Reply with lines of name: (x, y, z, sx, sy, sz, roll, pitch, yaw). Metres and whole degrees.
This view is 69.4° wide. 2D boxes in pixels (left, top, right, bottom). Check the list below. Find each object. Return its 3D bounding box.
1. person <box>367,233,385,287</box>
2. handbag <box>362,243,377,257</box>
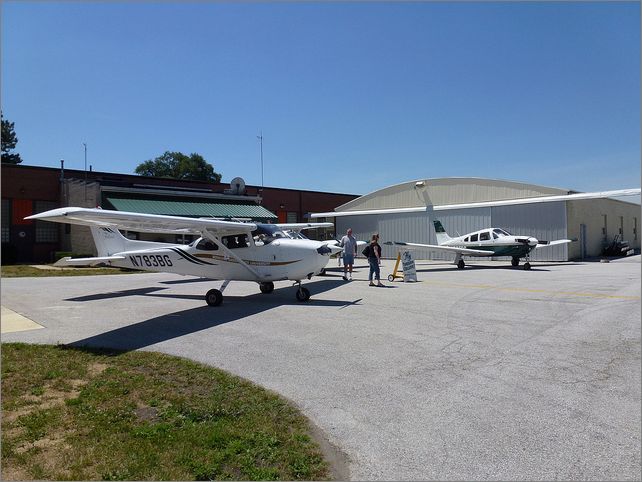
person: (1.726, 0.598, 14.723, 0.446, 1.708, 1.594, 0, 7, 7)
handbag: (1.547, 0.357, 14.413, 0.341, 0.653, 0.482, 1, -4, -18)
